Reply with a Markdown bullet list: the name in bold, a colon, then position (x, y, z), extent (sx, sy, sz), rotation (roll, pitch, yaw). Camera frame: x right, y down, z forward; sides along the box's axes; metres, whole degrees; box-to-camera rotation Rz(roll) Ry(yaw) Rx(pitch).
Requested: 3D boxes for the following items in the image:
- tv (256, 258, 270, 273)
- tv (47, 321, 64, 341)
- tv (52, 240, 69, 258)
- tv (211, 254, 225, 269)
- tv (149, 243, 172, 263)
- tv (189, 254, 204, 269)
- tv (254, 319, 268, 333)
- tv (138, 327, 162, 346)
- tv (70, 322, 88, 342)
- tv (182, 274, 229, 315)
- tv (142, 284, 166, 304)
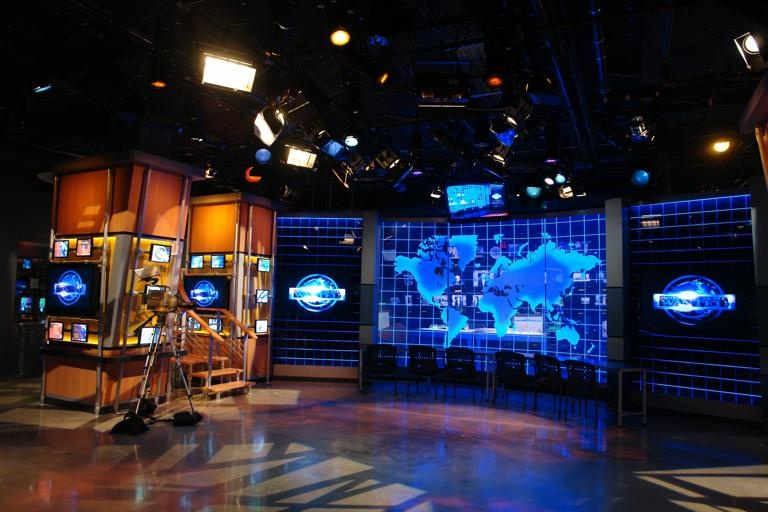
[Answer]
- **tv**: position (-3.077, 0.232, 15.215), extent (0.057, 0.270, 0.403), rotation (-2, -4, 32)
- **tv**: position (-6.745, 1.552, 12.317), extent (0.440, 0.455, 0.050), rotation (-2, -7, 2)
- **tv**: position (-6.733, -0.142, 12.492), extent (0.417, 0.379, 0.043), rotation (0, -2, 26)
- **tv**: position (-4.096, 0.142, 14.830), extent (0.407, 0.338, 0.040), rotation (0, -6, 22)
- **tv**: position (-4.628, -0.058, 12.338), extent (0.058, 0.331, 0.436), rotation (5, 1, 33)
- **tv**: position (-4.725, 0.146, 15.132), extent (0.420, 0.363, 0.042), rotation (0, -5, 19)
- **tv**: position (-3.089, 1.783, 15.152), extent (0.084, 0.344, 0.411), rotation (-1, -5, 37)
- **tv**: position (-4.694, 1.607, 11.964), extent (0.174, 0.440, 0.493), rotation (-4, -8, 31)
- **tv**: position (-6.149, 1.548, 12.115), extent (0.453, 0.397, 0.060), rotation (0, -3, 23)
- **tv**: position (-4.483, 0.957, 15.048), extent (0.134, 0.942, 1.627), rotation (-12, 4, -43)
- **tv**: position (-4.486, 0.756, 11.718), extent (0.405, 0.372, 0.766), rotation (4, -5, -22)
